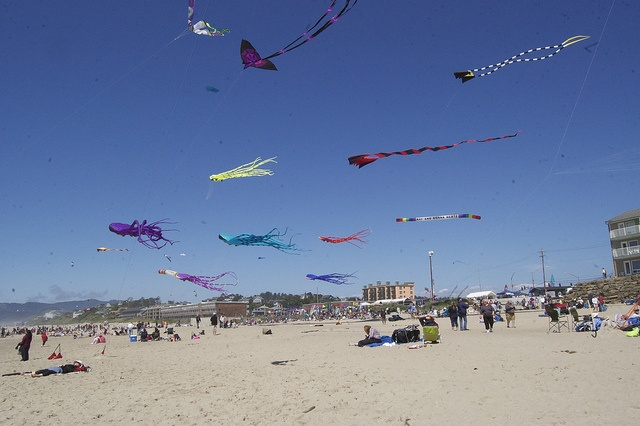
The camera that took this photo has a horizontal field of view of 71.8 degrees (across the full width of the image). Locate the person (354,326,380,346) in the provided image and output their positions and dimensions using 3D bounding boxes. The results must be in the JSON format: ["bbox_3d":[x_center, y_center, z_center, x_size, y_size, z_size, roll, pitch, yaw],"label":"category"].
[{"bbox_3d":[2.209,5.797,20.430,1.119,0.790,0.689,1,-41,0],"label":"person"}]

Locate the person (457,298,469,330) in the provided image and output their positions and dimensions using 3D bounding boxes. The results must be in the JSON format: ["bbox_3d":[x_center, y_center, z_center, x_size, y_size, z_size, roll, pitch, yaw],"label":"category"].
[{"bbox_3d":[7.795,5.589,24.268,0.551,1.739,1.328,-8,-16,17],"label":"person"}]

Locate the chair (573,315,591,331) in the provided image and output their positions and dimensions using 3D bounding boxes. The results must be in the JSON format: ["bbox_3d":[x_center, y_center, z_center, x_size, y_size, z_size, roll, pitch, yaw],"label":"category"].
[{"bbox_3d":[12.094,5.134,20.430,0.743,0.683,1.104,-12,-18,28],"label":"chair"}]

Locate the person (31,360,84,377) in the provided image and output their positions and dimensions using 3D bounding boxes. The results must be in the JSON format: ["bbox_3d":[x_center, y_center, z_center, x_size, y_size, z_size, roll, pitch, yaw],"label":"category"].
[{"bbox_3d":[-9.740,5.947,16.634,1.083,0.180,0.751,2,-2,-42],"label":"person"}]
